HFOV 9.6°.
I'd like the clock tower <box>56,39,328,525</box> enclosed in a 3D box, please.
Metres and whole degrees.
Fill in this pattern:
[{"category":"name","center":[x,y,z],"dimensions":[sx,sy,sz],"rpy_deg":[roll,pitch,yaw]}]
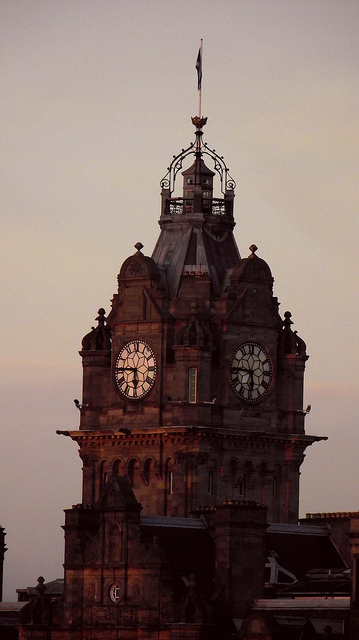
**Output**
[{"category":"clock tower","center":[0.380,-1.532,107.647],"dimensions":[10.695,27.535,12.333],"rpy_deg":[4,-6,-1]}]
